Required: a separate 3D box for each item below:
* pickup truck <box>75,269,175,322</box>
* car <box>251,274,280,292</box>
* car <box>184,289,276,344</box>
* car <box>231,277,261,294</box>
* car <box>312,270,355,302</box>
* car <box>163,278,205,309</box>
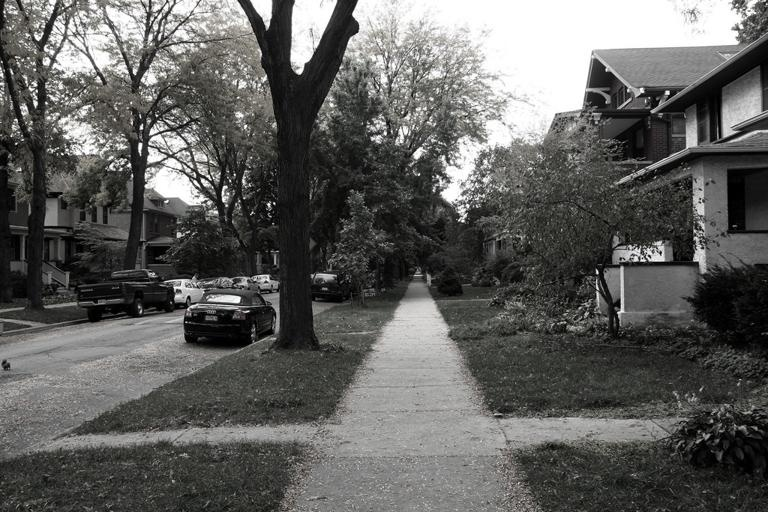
[{"bbox_3d":[-12.152,1.858,30.514,1.958,1.674,4.513,0,2,12],"label":"pickup truck"},{"bbox_3d":[-10.083,2.369,54.836,1.409,1.084,3.202,0,4,2],"label":"car"},{"bbox_3d":[-4.926,1.959,21.919,1.345,1.071,3.144,1,1,8],"label":"car"},{"bbox_3d":[-8.545,1.813,39.637,0.854,0.705,2.020,0,-10,5],"label":"car"},{"bbox_3d":[-3.314,1.913,37.812,1.506,1.403,2.757,2,7,15],"label":"car"},{"bbox_3d":[-10.590,2.026,33.785,1.262,1.101,3.132,-1,2,5],"label":"car"}]
